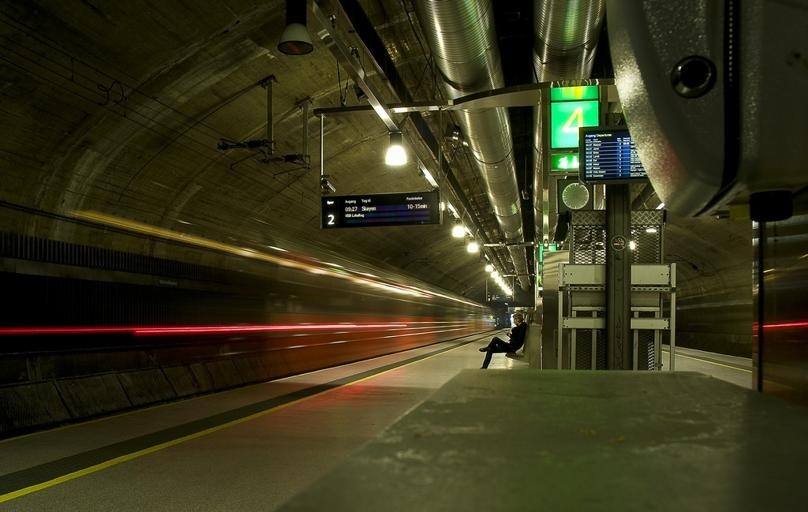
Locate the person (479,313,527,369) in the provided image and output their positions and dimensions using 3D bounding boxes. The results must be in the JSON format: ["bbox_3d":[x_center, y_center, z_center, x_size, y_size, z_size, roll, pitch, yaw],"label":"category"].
[{"bbox_3d":[2.787,2.440,13.931,1.444,1.700,0.830,7,-1,2],"label":"person"}]
